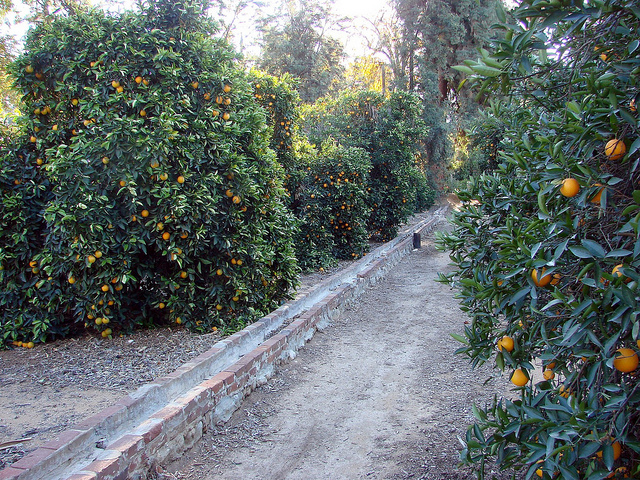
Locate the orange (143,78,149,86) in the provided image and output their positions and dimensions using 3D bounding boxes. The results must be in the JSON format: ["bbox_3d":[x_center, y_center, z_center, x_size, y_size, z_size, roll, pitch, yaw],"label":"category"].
[{"bbox_3d":[-2.128,-1.925,5.891,0.071,0.097,0.076,1,9,-7],"label":"orange"}]

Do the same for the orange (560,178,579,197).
[{"bbox_3d":[1.526,-0.324,2.977,0.093,0.123,0.099,2,8,4],"label":"orange"}]

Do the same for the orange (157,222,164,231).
[{"bbox_3d":[-1.905,-0.167,5.747,0.072,0.095,0.121,-5,13,-20],"label":"orange"}]

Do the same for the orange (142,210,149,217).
[{"bbox_3d":[-2.077,-0.312,5.727,0.061,0.089,0.085,-3,12,-10],"label":"orange"}]

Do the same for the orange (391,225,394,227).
[{"bbox_3d":[2.157,-0.426,14.214,0.061,0.049,0.139,3,13,18],"label":"orange"}]

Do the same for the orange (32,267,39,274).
[{"bbox_3d":[-3.403,0.361,5.750,0.059,0.038,0.062,3,4,19],"label":"orange"}]

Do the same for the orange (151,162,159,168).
[{"bbox_3d":[-1.953,-0.885,5.692,0.087,0.061,0.088,-5,13,-20],"label":"orange"}]

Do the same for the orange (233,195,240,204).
[{"bbox_3d":[-1.083,-0.518,6.230,0.080,0.121,0.148,-3,12,-11],"label":"orange"}]

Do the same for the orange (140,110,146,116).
[{"bbox_3d":[-2.142,-1.533,5.818,0.051,0.057,0.054,2,22,8],"label":"orange"}]

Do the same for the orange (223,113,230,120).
[{"bbox_3d":[-1.218,-1.597,6.245,0.071,0.092,0.070,-8,27,-34],"label":"orange"}]

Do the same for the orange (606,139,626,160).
[{"bbox_3d":[1.809,-0.549,2.927,0.106,0.120,0.050,-2,12,-4],"label":"orange"}]

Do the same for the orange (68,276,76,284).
[{"bbox_3d":[-2.885,0.465,5.598,0.062,0.091,0.063,11,17,44],"label":"orange"}]

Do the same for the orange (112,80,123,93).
[{"bbox_3d":[-2.411,-1.814,5.737,0.112,0.151,0.118,1,6,-4],"label":"orange"}]

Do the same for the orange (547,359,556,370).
[{"bbox_3d":[1.585,0.849,3.288,0.041,0.045,0.039,-22,29,-36],"label":"orange"}]

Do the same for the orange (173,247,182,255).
[{"bbox_3d":[-1.717,0.129,5.869,0.065,0.082,0.141,1,13,10],"label":"orange"}]

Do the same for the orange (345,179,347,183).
[{"bbox_3d":[0.607,-1.350,10.971,0.059,0.062,0.058,1,12,7],"label":"orange"}]

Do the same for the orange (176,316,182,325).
[{"bbox_3d":[-1.841,1.036,6.212,0.061,0.067,0.079,12,-28,11],"label":"orange"}]

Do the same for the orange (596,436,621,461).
[{"bbox_3d":[1.706,1.216,2.834,0.109,0.118,0.135,22,45,18],"label":"orange"}]

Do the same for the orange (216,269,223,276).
[{"bbox_3d":[-1.326,0.423,6.355,0.082,0.097,0.123,-4,12,-12],"label":"orange"}]

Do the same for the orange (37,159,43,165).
[{"bbox_3d":[-3.465,-0.963,5.945,0.047,0.059,0.049,-11,40,-22],"label":"orange"}]

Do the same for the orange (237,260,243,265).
[{"bbox_3d":[-1.055,0.293,6.346,0.058,0.073,0.076,-2,12,-3],"label":"orange"}]

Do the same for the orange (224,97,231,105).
[{"bbox_3d":[-1.213,-1.813,6.279,0.080,0.108,0.085,0,14,-6],"label":"orange"}]

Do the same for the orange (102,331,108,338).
[{"bbox_3d":[-2.690,1.170,6.013,0.075,0.100,0.079,-3,-2,7],"label":"orange"}]

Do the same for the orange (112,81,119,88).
[{"bbox_3d":[-2.427,-1.845,5.709,0.062,0.079,0.067,9,43,13],"label":"orange"}]

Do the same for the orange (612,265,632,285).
[{"bbox_3d":[1.777,0.193,2.845,0.088,0.096,0.106,-14,34,-40],"label":"orange"}]

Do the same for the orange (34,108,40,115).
[{"bbox_3d":[-3.490,-1.583,5.930,0.055,0.057,0.068,33,17,-12],"label":"orange"}]

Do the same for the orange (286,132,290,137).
[{"bbox_3d":[-0.636,-2.094,9.522,0.065,0.041,0.070,3,0,0],"label":"orange"}]

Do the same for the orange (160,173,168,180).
[{"bbox_3d":[-1.856,-0.747,5.737,0.065,0.082,0.067,24,7,37],"label":"orange"}]

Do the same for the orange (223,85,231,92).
[{"bbox_3d":[-1.209,-1.961,6.259,0.069,0.077,0.078,9,16,39],"label":"orange"}]

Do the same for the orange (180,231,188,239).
[{"bbox_3d":[-1.660,-0.067,5.854,0.053,0.067,0.061,8,17,38],"label":"orange"}]

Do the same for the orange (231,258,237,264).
[{"bbox_3d":[-1.134,0.279,6.324,0.043,0.063,0.043,-12,16,-35],"label":"orange"}]

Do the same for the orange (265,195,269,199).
[{"bbox_3d":[-0.726,-0.591,6.607,0.031,0.035,0.040,2,-27,-7],"label":"orange"}]

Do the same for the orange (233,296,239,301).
[{"bbox_3d":[-1.121,0.773,6.424,0.056,0.087,0.060,6,19,6],"label":"orange"}]

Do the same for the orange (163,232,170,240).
[{"bbox_3d":[-1.836,-0.047,5.741,0.058,0.066,0.061,5,15,-11],"label":"orange"}]

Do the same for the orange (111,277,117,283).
[{"bbox_3d":[-2.429,0.473,5.675,0.075,0.064,0.035,4,13,21],"label":"orange"}]

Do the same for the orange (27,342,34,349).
[{"bbox_3d":[-3.495,1.270,5.840,0.066,0.070,0.068,22,-18,6],"label":"orange"}]

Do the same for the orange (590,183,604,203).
[{"bbox_3d":[1.691,-0.285,2.948,0.061,0.122,0.119,0,12,4],"label":"orange"}]

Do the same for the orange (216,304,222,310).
[{"bbox_3d":[-1.333,0.871,6.320,0.057,0.064,0.060,5,-3,-6],"label":"orange"}]

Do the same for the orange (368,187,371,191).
[{"bbox_3d":[1.368,-1.413,13.298,0.069,0.044,0.073,-1,9,-8],"label":"orange"}]

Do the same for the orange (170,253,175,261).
[{"bbox_3d":[-1.772,0.194,5.802,0.034,0.068,0.073,-6,13,-21],"label":"orange"}]

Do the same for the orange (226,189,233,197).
[{"bbox_3d":[-1.161,-0.592,6.164,0.072,0.079,0.075,3,37,-7],"label":"orange"}]

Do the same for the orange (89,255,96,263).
[{"bbox_3d":[-2.617,0.218,5.516,0.054,0.073,0.058,0,-16,-4],"label":"orange"}]

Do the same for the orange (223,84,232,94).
[{"bbox_3d":[-1.198,-1.953,6.255,0.092,0.100,0.095,-18,36,-22],"label":"orange"}]

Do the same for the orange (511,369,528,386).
[{"bbox_3d":[1.411,0.988,3.440,0.102,0.134,0.105,-10,14,38],"label":"orange"}]

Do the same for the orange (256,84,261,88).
[{"bbox_3d":[-1.159,-2.898,9.074,0.053,0.071,0.056,6,16,19],"label":"orange"}]

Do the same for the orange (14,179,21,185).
[{"bbox_3d":[-3.753,-0.709,5.959,0.043,0.066,0.045,10,17,34],"label":"orange"}]

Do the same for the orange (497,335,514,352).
[{"bbox_3d":[1.378,0.754,3.539,0.089,0.095,0.096,-6,41,18],"label":"orange"}]

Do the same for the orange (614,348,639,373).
[{"bbox_3d":[1.800,0.701,2.847,0.120,0.153,0.128,-2,38,29],"label":"orange"}]

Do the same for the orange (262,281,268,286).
[{"bbox_3d":[-0.777,0.620,6.836,0.056,0.071,0.057,-32,62,-33],"label":"orange"}]

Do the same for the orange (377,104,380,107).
[{"bbox_3d":[1.719,-3.907,14.043,0.061,0.071,0.033,3,13,19],"label":"orange"}]

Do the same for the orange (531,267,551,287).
[{"bbox_3d":[1.440,0.243,3.151,0.098,0.128,0.100,13,3,39],"label":"orange"}]

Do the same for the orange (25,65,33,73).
[{"bbox_3d":[-3.507,-2.047,5.789,0.076,0.066,0.087,-10,15,-36],"label":"orange"}]

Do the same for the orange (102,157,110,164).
[{"bbox_3d":[-2.475,-0.913,5.558,0.055,0.074,0.072,-5,13,-17],"label":"orange"}]

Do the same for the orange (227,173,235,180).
[{"bbox_3d":[-1.153,-0.819,6.200,0.095,0.087,0.087,0,12,4],"label":"orange"}]

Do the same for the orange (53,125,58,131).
[{"bbox_3d":[-3.224,-1.362,5.848,0.040,0.042,0.048,-36,3,-8],"label":"orange"}]

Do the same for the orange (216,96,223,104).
[{"bbox_3d":[-1.308,-1.807,6.228,0.075,0.097,0.080,5,54,3],"label":"orange"}]

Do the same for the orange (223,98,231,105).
[{"bbox_3d":[-1.215,-1.798,6.262,0.065,0.073,0.067,-1,8,-28],"label":"orange"}]

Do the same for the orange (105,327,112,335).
[{"bbox_3d":[-2.612,1.120,5.940,0.069,0.072,0.073,15,50,-18],"label":"orange"}]

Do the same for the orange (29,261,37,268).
[{"bbox_3d":[-3.430,0.285,5.746,0.052,0.057,0.066,11,-25,9],"label":"orange"}]
